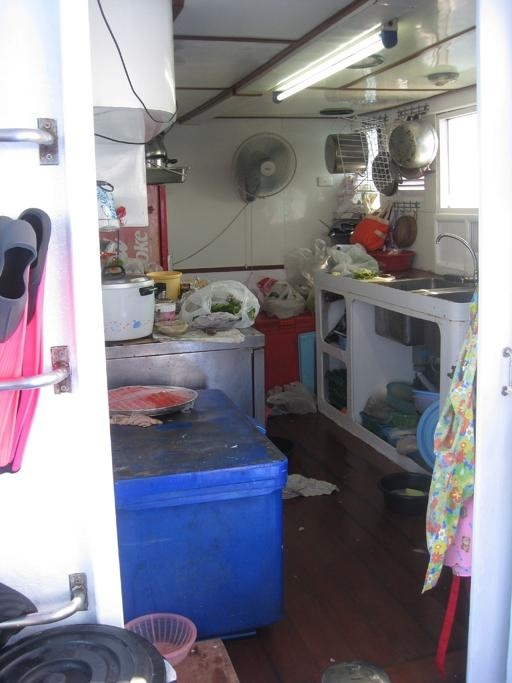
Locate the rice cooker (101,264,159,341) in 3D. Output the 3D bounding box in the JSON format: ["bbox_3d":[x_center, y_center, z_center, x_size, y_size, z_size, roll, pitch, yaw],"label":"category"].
[{"bbox_3d":[-0.618,-0.197,2.788,0.269,0.336,0.280,-1,15,-10],"label":"rice cooker"}]

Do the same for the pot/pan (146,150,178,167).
[{"bbox_3d":[-0.668,-1.271,4.016,0.185,0.110,0.307,5,14,26],"label":"pot/pan"}]

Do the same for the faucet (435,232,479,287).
[{"bbox_3d":[1.257,-0.508,3.549,0.278,0.352,0.080,0,-5,2],"label":"faucet"}]

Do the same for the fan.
[{"bbox_3d":[0.050,-1.648,5.303,0.540,0.624,0.162,31,28,-9],"label":"fan"}]

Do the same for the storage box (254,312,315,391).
[{"bbox_3d":[0.160,0.053,4.967,0.555,0.603,0.582,-2,16,-9],"label":"storage box"}]

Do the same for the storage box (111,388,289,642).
[{"bbox_3d":[-0.185,0.678,2.037,0.598,0.707,0.581,-5,10,-14],"label":"storage box"}]

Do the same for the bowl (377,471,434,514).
[{"bbox_3d":[0.776,0.784,2.953,0.307,0.147,0.295,3,13,-1],"label":"bowl"}]

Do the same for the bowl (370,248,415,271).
[{"bbox_3d":[1.128,-0.666,4.660,0.296,0.181,0.383,6,13,40],"label":"bowl"}]

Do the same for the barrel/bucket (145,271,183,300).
[{"bbox_3d":[-0.567,-0.370,3.657,0.230,0.165,0.212,0,11,0],"label":"barrel/bucket"}]
